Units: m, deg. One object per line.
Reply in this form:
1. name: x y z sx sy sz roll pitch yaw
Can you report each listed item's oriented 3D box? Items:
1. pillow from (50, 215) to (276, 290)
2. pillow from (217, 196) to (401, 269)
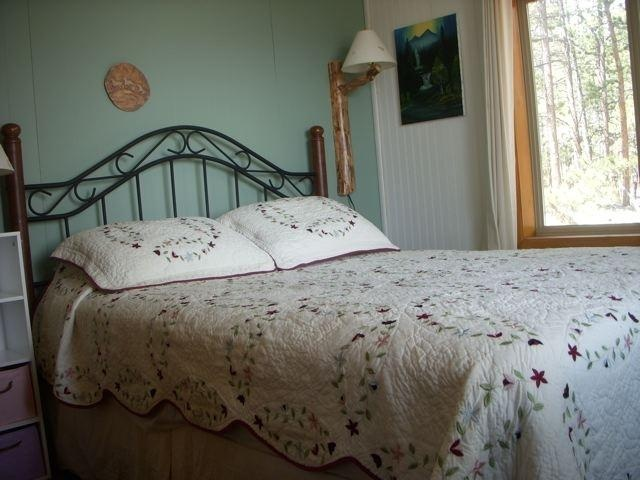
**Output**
1. pillow: -0.648 0.057 2.096 0.542 0.116 0.487 -7 20 -32
2. pillow: -0.085 -0.062 2.432 0.498 0.139 0.551 -5 30 -40
